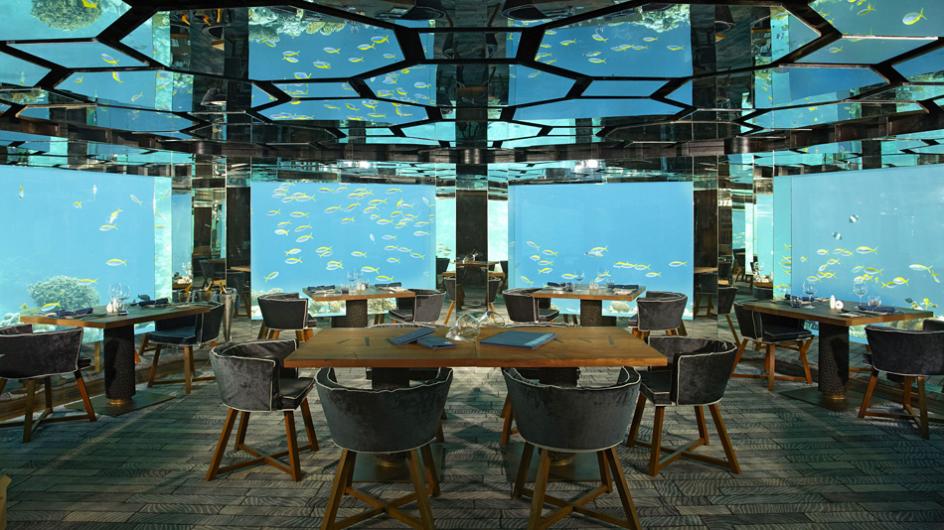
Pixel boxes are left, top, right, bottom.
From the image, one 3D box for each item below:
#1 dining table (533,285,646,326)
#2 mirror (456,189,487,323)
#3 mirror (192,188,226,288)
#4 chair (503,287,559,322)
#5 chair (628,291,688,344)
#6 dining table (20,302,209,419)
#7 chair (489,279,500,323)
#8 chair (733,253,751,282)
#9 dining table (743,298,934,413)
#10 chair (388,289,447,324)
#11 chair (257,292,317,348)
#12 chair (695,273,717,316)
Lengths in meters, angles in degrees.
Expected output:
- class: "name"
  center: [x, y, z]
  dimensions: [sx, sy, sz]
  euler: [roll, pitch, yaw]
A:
- class: "dining table"
  center: [1.835, 0.634, 10.043]
  dimensions: [1.383, 0.423, 1.015]
  euler: [-1, 1, 12]
- class: "mirror"
  center: [0.018, -0.325, 11.939]
  dimensions: [0.630, 2.193, 0.425]
  euler: [-3, 6, 0]
- class: "mirror"
  center: [-4.391, -0.498, 10.715]
  dimensions: [0.634, 1.570, 0.118]
  euler: [-4, 6, -18]
- class: "chair"
  center: [0.864, 0.638, 10.166]
  dimensions: [1.018, 0.539, 0.713]
  euler: [-1, 2, 6]
- class: "chair"
  center: [2.896, 0.792, 9.880]
  dimensions: [1.255, 0.667, 1.003]
  euler: [-1, -1, 10]
- class: "dining table"
  center: [-4.623, 1.264, 8.925]
  dimensions: [2.330, 1.093, 2.129]
  euler: [0, 1, 8]
- class: "chair"
  center: [0.408, 0.536, 11.892]
  dimensions: [0.206, 0.555, 0.312]
  euler: [-2, 5, 8]
- class: "chair"
  center: [4.563, 0.004, 10.854]
  dimensions: [0.221, 0.514, 0.133]
  euler: [-1, 6, 16]
- class: "dining table"
  center: [4.806, 1.167, 9.037]
  dimensions: [2.507, 1.083, 1.790]
  euler: [-2, 5, -9]
- class: "chair"
  center: [-0.850, 0.639, 10.189]
  dimensions: [1.024, 0.441, 0.650]
  euler: [2, -2, -16]
- class: "chair"
  center: [-2.951, 0.833, 10.101]
  dimensions: [1.347, 0.739, 1.063]
  euler: [0, 2, -15]
- class: "chair"
  center: [4.096, 0.519, 11.204]
  dimensions: [0.362, 0.765, 0.121]
  euler: [-1, 6, 13]
